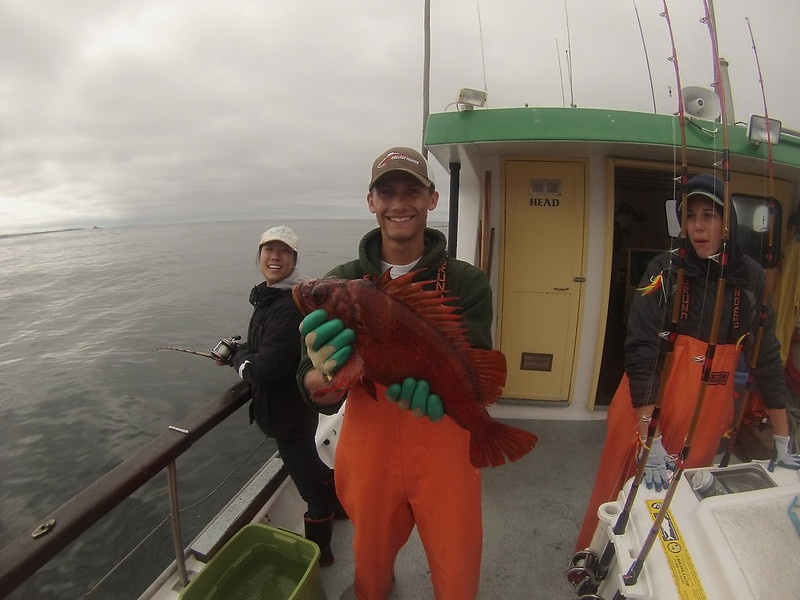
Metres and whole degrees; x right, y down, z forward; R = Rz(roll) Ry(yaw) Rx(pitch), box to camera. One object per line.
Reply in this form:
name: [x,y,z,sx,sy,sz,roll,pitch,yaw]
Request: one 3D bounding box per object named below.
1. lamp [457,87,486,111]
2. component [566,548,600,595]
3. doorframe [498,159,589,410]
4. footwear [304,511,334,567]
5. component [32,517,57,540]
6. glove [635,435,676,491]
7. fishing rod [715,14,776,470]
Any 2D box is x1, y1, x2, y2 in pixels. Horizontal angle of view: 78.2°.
lamp: [0.611,-1.708,4.130,0.220,0.180,0.459,2,10,12]
component: [1.040,1.482,2.694,0.186,0.264,0.092,12,20,28]
doorframe: [1.575,-0.128,5.304,0.877,2.796,0.114,1,30,16]
footwear: [-0.603,1.722,3.567,0.171,0.338,0.329,-12,37,-21]
component: [-1.903,1.189,2.592,0.071,0.028,0.118,38,51,18]
glove: [1.455,0.913,2.703,0.236,0.096,0.348,8,36,18]
fishing rod: [1.895,-0.120,2.626,0.178,2.339,0.031,-5,8,-38]
